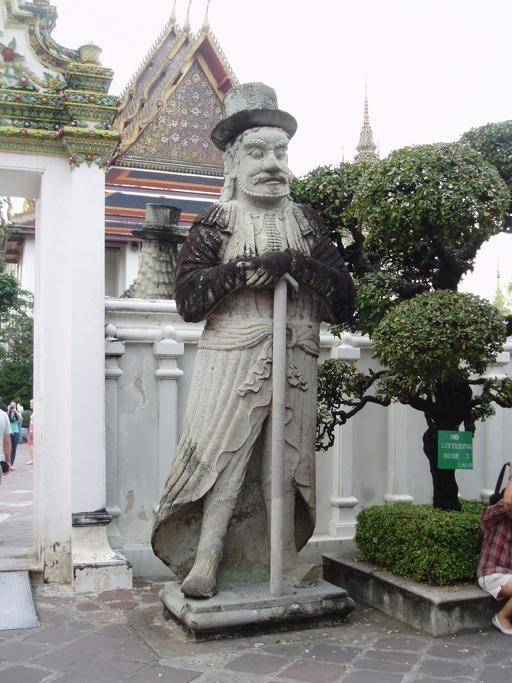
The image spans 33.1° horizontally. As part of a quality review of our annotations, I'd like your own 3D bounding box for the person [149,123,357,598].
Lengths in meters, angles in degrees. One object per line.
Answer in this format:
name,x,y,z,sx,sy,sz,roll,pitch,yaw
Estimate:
person,-0.038,0.094,4.942,1.141,2.650,0.610,-1,3,-10
